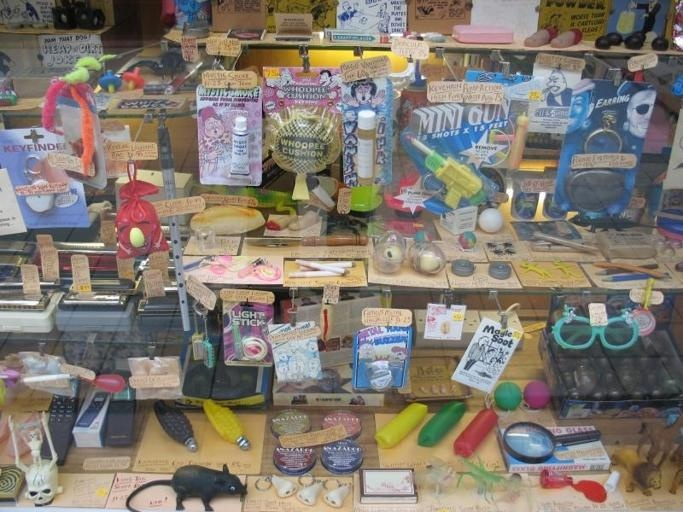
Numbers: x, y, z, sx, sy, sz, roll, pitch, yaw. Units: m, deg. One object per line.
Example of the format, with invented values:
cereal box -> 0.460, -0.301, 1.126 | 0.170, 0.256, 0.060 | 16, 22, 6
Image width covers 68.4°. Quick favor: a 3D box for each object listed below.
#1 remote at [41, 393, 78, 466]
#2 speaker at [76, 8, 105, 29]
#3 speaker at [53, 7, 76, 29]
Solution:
remote -> -1.120, 0.686, 2.025 | 0.095, 0.069, 0.292 | 3, 55, -5
speaker -> -0.922, -0.868, 1.845 | 0.096, 0.067, 0.129 | -5, 29, -11
speaker -> -1.026, -0.878, 1.860 | 0.077, 0.072, 0.156 | -13, 31, -23
